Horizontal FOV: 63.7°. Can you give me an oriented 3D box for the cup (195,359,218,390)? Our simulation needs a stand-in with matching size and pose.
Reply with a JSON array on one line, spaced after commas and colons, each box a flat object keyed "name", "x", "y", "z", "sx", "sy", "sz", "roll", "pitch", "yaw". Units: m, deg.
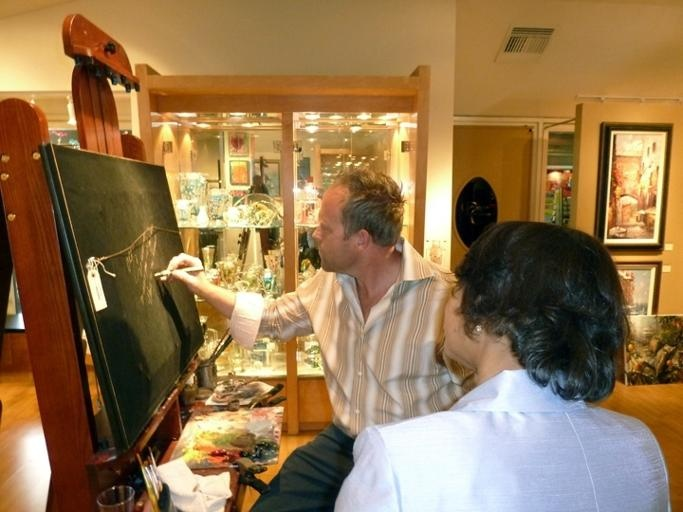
[{"name": "cup", "x": -0.618, "y": 0.548, "z": 2.546, "sx": 0.122, "sy": 0.120, "sz": 0.111, "roll": 0, "pitch": -2, "yaw": 0}]

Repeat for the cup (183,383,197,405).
[{"name": "cup", "x": -0.672, "y": 0.614, "z": 2.432, "sx": 0.079, "sy": 0.094, "sz": 0.080, "roll": -1, "pitch": -6, "yaw": 0}]

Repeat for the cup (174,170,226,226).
[{"name": "cup", "x": -0.790, "y": -0.352, "z": 3.382, "sx": 0.364, "sy": 0.362, "sz": 0.216, "roll": -2, "pitch": 26, "yaw": -4}]

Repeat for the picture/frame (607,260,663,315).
[{"name": "picture/frame", "x": 2.430, "y": 0.300, "z": 4.555, "sx": 0.445, "sy": 0.451, "sz": 0.027, "roll": 3, "pitch": -2, "yaw": -19}]
